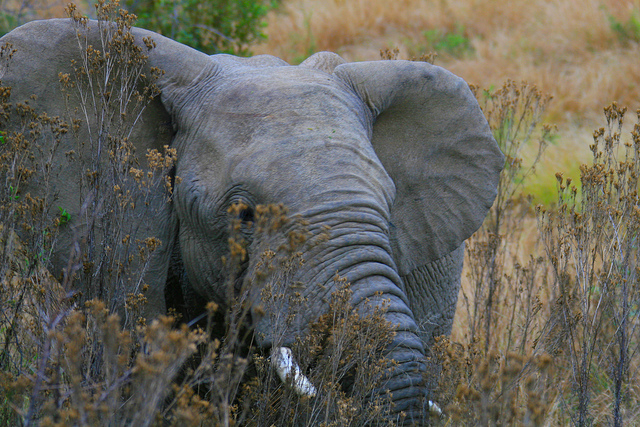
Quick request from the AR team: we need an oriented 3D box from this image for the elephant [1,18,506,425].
[{"bbox_3d":[-0.384,0.590,13.355,3.314,4.531,2.902,7,78,-7],"label":"elephant"}]
